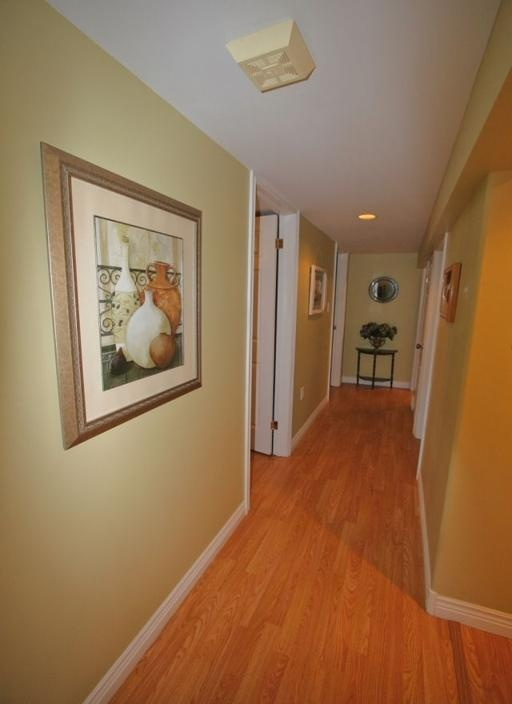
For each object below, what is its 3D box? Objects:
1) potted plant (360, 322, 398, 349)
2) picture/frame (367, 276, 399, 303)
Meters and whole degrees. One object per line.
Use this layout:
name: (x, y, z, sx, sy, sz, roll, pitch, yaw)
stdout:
potted plant: (1.485, -0.239, 5.971, 0.317, 0.286, 0.335, 0, 5, 4)
picture/frame: (1.557, -0.748, 5.935, 0.348, 0.334, 0.096, 3, 10, 14)
